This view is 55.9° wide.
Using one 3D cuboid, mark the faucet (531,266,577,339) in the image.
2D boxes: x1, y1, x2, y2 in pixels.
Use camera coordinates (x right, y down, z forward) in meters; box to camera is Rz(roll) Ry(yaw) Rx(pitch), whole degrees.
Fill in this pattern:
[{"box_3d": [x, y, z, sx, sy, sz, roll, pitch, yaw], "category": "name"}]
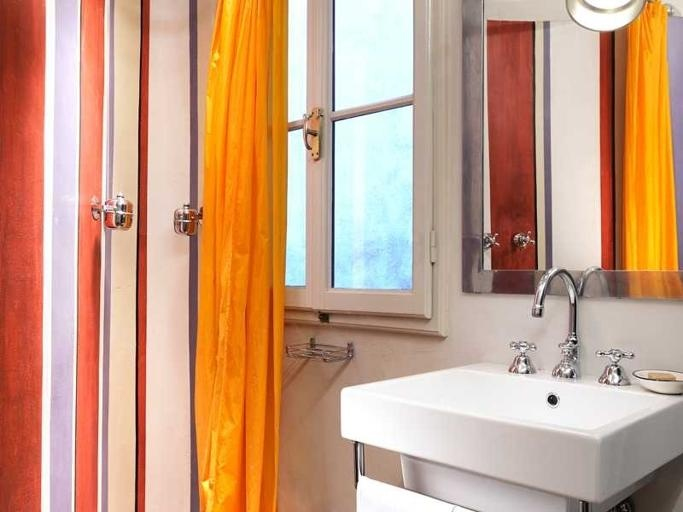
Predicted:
[{"box_3d": [0.599, 0.137, 1.795, 0.121, 0.207, 0.192, -1, 5, 20], "category": "faucet"}]
